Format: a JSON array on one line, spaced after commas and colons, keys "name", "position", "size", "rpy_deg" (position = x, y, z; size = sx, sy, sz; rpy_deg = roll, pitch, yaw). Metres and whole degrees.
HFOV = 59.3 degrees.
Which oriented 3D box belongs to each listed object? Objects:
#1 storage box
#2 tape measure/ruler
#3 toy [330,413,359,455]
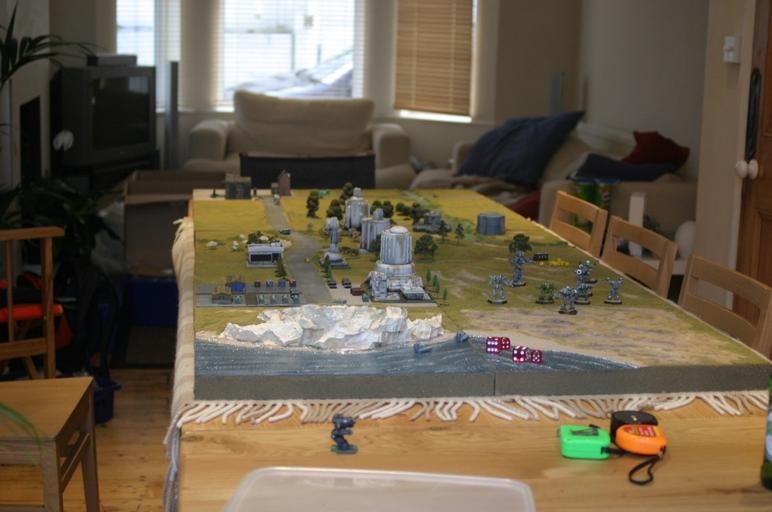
[{"name": "storage box", "position": [-1.525, -0.267, 4.515], "size": [0.726, 0.760, 0.838], "rpy_deg": [-3, 17, -16]}, {"name": "tape measure/ruler", "position": [0.436, 0.359, 1.315], "size": [0.184, 0.077, 0.175], "rpy_deg": [4, 9, 33]}, {"name": "toy", "position": [-0.079, 0.344, 1.319], "size": [0.062, 0.069, 0.058], "rpy_deg": [-4, -8, 19]}]
